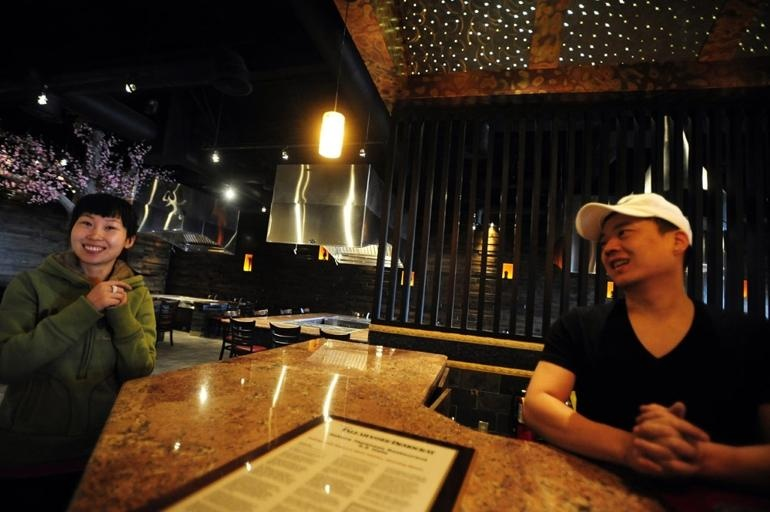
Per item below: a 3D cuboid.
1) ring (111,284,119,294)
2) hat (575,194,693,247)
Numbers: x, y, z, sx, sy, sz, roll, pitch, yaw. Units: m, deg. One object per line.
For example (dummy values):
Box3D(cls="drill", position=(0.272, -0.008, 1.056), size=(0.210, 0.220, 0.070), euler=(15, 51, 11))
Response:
Box3D(cls="ring", position=(-1.775, 0.224, 3.351), size=(0.034, 0.034, 0.046), euler=(4, 8, -37))
Box3D(cls="hat", position=(1.575, -0.246, 3.293), size=(0.595, 0.291, 0.396), euler=(24, -10, 5))
